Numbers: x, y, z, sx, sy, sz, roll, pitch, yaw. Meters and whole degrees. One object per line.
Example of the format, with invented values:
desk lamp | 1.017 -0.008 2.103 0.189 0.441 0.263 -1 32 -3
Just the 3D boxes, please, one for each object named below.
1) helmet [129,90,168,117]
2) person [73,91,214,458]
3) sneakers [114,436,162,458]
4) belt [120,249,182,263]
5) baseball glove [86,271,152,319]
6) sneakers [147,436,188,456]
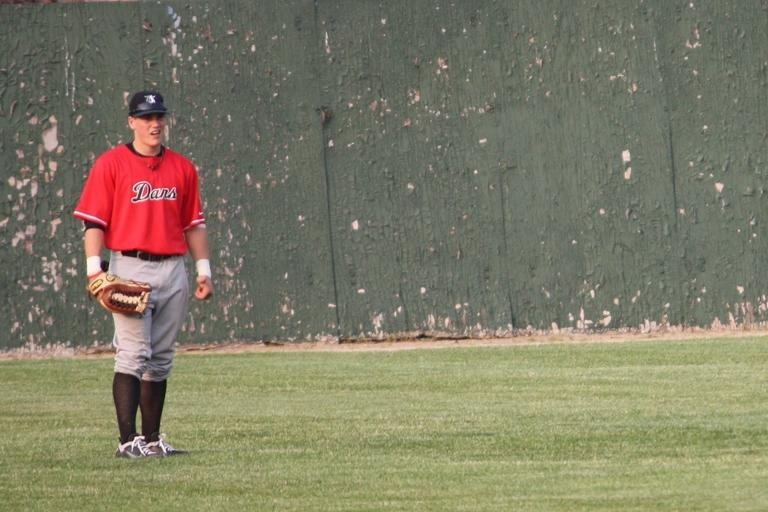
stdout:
helmet | -1.745 -1.117 12.611 0.202 0.124 0.255 -1 -2 -18
person | -1.744 0.123 12.532 0.980 2.664 0.413 -1 -6 -9
sneakers | -1.766 1.385 12.369 0.322 0.126 0.137 0 -5 11
belt | -1.688 -0.001 12.488 0.403 0.078 0.080 -1 -5 -7
baseball glove | -1.955 0.265 12.441 0.535 0.204 0.377 5 7 -26
sneakers | -1.526 1.375 12.391 0.338 0.132 0.114 3 -1 -4
